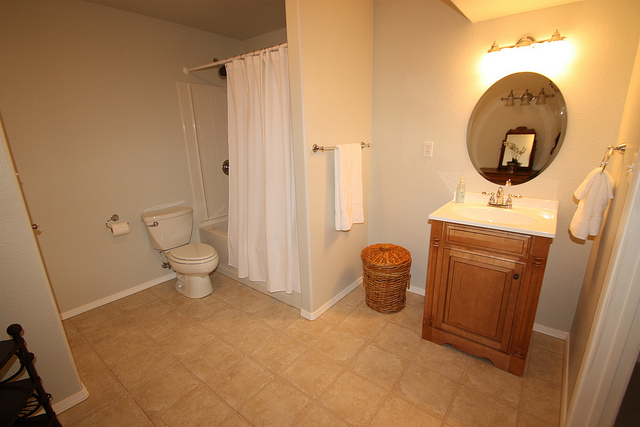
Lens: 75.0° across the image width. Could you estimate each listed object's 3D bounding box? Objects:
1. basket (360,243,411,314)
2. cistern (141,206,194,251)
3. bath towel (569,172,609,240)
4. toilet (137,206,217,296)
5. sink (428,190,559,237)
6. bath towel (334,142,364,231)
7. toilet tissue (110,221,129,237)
[{"bbox_3d":[0.646,0.657,4.137,0.468,0.594,0.338,-1,17,5],"label":"basket"},{"bbox_3d":[-1.579,0.149,4.421,0.391,0.430,0.593,7,15,40],"label":"cistern"},{"bbox_3d":[2.093,-0.093,3.214,0.233,0.536,0.174,2,21,2],"label":"bath towel"},{"bbox_3d":[-1.419,0.431,4.423,0.771,0.855,0.600,14,23,40],"label":"toilet"},{"bbox_3d":[1.499,0.005,3.543,0.907,0.268,0.660,7,19,29],"label":"sink"},{"bbox_3d":[0.258,-0.262,3.976,0.140,0.814,0.435,7,17,34],"label":"bath towel"},{"bbox_3d":[-1.992,0.141,4.213,0.129,0.156,0.173,-13,4,12],"label":"toilet tissue"}]
